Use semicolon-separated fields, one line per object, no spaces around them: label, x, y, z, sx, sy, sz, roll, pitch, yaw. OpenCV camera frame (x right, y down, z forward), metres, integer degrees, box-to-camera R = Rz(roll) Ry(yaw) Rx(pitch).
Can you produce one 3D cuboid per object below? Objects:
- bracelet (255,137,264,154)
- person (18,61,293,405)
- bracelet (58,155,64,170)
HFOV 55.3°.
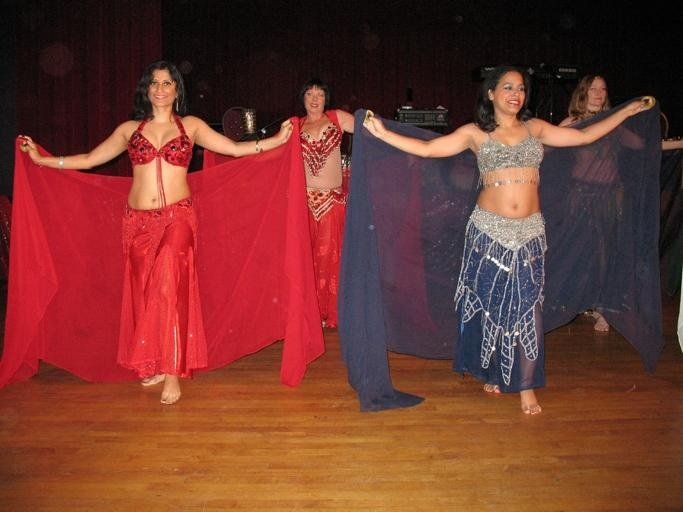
bracelet;-0.521;-0.707;4.101;0.048;0.076;0.025;-1;5;2
person;-1.024;-0.245;4.144;1.025;1.867;0.996;-14;23;-36
bracelet;-1.771;-0.584;4.100;0.036;0.058;0.016;1;1;5
